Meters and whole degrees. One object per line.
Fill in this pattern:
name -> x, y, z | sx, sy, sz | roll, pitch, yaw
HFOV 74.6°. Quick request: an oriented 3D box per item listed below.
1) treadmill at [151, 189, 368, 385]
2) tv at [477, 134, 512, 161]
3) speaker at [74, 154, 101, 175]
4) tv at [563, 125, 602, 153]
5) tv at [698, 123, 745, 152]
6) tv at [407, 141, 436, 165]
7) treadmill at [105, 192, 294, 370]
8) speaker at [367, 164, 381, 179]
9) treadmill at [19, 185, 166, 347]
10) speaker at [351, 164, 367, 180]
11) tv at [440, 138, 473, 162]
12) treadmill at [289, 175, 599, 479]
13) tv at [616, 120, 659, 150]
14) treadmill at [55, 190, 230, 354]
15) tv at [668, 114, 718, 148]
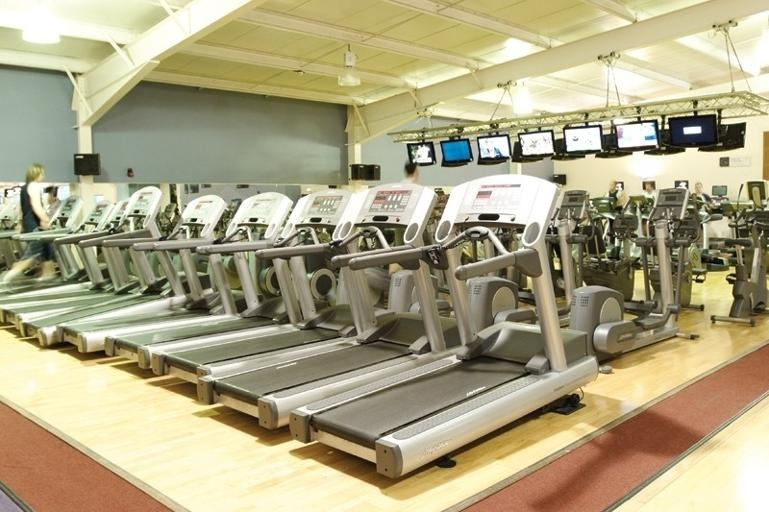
treadmill -> -1.065, 0.127, 4.910 | 1.497, 1.378, 2.392 | 9, 12, 44
tv -> 2.542, -2.480, 11.668 | 0.918, 0.519, 0.096 | 2, 10, 33
speaker -> -5.577, -1.700, 9.405 | 0.531, 0.411, 0.266 | -4, 2, -15
tv -> 4.122, -2.405, 10.439 | 0.703, 0.459, 0.343 | 3, 24, 37
tv -> 6.322, -2.226, 9.481 | 0.784, 0.410, 0.406 | 5, 18, 32
tv -> 0.938, -2.563, 12.662 | 0.707, 0.567, 0.458 | 4, 14, 24
treadmill -> -1.822, 0.197, 5.268 | 1.864, 1.646, 1.921 | -7, 11, -38
speaker -> -0.303, -2.172, 13.157 | 0.277, 0.378, 0.480 | 4, 7, 38
treadmill -> -3.342, -0.039, 6.446 | 1.585, 1.792, 2.552 | 12, 14, 43
speaker -> -0.673, -2.151, 13.004 | 0.347, 0.374, 0.501 | 0, 1, 43
tv -> 1.717, -2.524, 12.107 | 1.087, 0.630, 0.104 | 5, 32, 36
treadmill -> 0.522, 0.288, 3.391 | 2.031, 1.609, 0.922 | -11, 16, -41
tv -> 4.921, -2.315, 9.768 | 0.777, 0.446, 0.100 | 4, 16, 36
treadmill -> -2.693, 0.119, 5.601 | 1.722, 1.657, 1.561 | 8, 13, 39
tv -> 5.631, -2.238, 9.180 | 0.097, 0.581, 0.901 | -24, 19, -21
